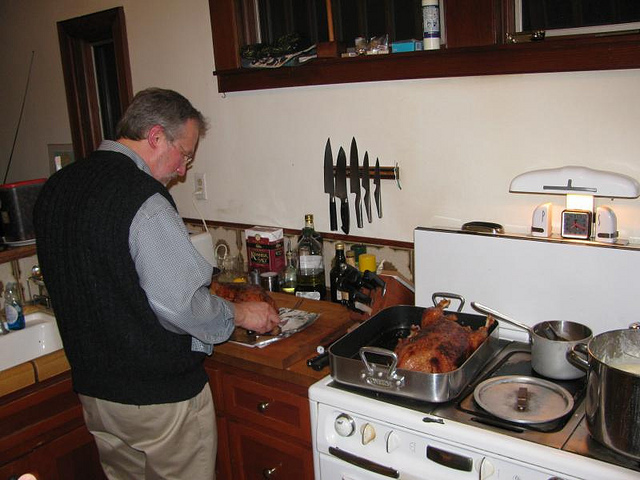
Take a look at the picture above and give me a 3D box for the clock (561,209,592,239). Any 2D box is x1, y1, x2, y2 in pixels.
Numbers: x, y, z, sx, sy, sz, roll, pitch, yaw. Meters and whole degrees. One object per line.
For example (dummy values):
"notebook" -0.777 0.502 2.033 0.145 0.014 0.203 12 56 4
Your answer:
"clock" 0.870 -0.055 1.682 0.087 0.105 0.040 2 9 35

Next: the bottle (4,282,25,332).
"bottle" -1.352 0.294 2.210 0.063 0.190 0.153 -7 9 -32

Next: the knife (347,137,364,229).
"knife" 0.165 -0.260 2.203 0.061 0.376 0.027 -7 7 10

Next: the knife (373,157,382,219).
"knife" 0.251 -0.223 2.175 0.037 0.252 0.026 0 8 15

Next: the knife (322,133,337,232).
"knife" 0.056 -0.275 2.262 0.054 0.398 0.029 -5 9 17

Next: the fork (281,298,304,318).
"fork" -0.110 0.273 2.112 0.023 0.005 0.199 5 19 18

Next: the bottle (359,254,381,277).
"bottle" 0.207 0.099 2.027 0.074 0.077 0.074 6 11 44

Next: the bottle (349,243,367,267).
"bottle" 0.172 0.066 2.201 0.079 0.158 0.083 -1 12 0

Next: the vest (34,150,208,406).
"vest" -0.667 0.132 1.618 0.511 0.839 0.243 -1 8 11

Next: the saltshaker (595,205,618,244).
"saltshaker" 0.973 -0.055 1.671 0.121 0.117 0.057 -7 9 -31

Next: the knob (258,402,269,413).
"knob" -0.199 0.596 1.777 0.023 0.041 0.036 3 8 15

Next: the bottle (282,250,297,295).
"bottle" -0.140 0.154 2.330 0.074 0.188 0.068 -2 8 0

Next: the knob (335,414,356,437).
"knob" 0.075 0.561 1.493 0.061 0.073 0.030 3 9 35

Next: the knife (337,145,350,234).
"knife" 0.103 -0.238 2.227 0.045 0.346 0.027 -1 2 4

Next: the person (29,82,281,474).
"person" -0.606 0.207 1.685 0.608 1.416 0.373 0 8 14

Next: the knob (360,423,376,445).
"knob" 0.140 0.563 1.452 0.040 0.060 0.014 16 12 25

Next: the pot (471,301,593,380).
"pot" 0.680 0.322 1.660 0.369 0.177 0.183 10 20 43
